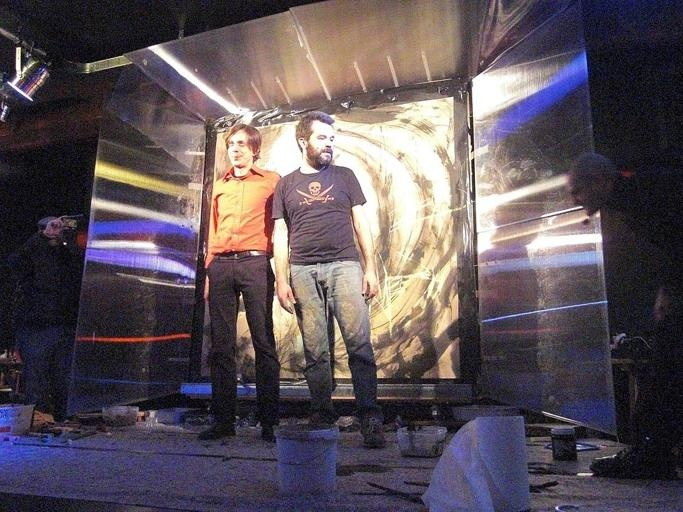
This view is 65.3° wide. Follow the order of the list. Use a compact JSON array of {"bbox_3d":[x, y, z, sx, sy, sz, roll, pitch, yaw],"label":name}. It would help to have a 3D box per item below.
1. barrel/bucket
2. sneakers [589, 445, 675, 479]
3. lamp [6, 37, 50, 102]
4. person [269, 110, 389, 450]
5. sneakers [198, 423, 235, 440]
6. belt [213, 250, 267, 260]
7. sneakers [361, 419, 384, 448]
[{"bbox_3d":[-0.125,0.799,2.093,0.247,0.210,0.243,-1,-13,0],"label":"barrel/bucket"},{"bbox_3d":[1.220,0.868,2.208,0.228,0.076,0.155,-2,-11,12],"label":"sneakers"},{"bbox_3d":[-2.812,-1.634,4.776,0.241,0.466,0.367,-1,-12,1],"label":"lamp"},{"bbox_3d":[-0.104,0.046,3.192,0.650,2.050,0.304,-2,-12,4],"label":"person"},{"bbox_3d":[-0.721,1.039,3.139,0.222,0.081,0.077,13,-22,-29],"label":"sneakers"},{"bbox_3d":[-0.615,-0.001,3.287,0.333,0.051,0.084,-1,-11,-1],"label":"belt"},{"bbox_3d":[0.170,0.952,2.882,0.112,0.152,0.124,0,-12,-3],"label":"sneakers"}]
